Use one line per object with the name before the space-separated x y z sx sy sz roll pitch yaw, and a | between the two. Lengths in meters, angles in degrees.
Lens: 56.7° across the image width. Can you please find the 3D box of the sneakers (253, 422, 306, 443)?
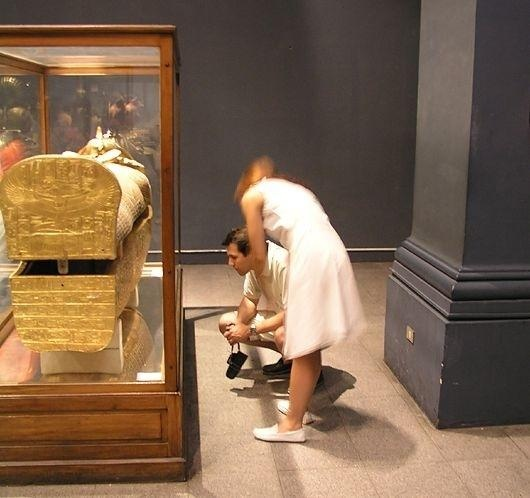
sneakers | 0.066 0.797 2.209 0.225 0.088 0.095 3 -11 4

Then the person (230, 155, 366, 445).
person | 0.129 0.238 2.196 0.349 1.254 0.598 -7 13 -41

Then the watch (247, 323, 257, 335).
watch | -0.066 0.413 2.509 0.030 0.057 0.046 2 -3 6

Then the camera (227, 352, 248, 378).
camera | -0.153 0.595 2.581 0.034 0.153 0.104 5 24 -45
